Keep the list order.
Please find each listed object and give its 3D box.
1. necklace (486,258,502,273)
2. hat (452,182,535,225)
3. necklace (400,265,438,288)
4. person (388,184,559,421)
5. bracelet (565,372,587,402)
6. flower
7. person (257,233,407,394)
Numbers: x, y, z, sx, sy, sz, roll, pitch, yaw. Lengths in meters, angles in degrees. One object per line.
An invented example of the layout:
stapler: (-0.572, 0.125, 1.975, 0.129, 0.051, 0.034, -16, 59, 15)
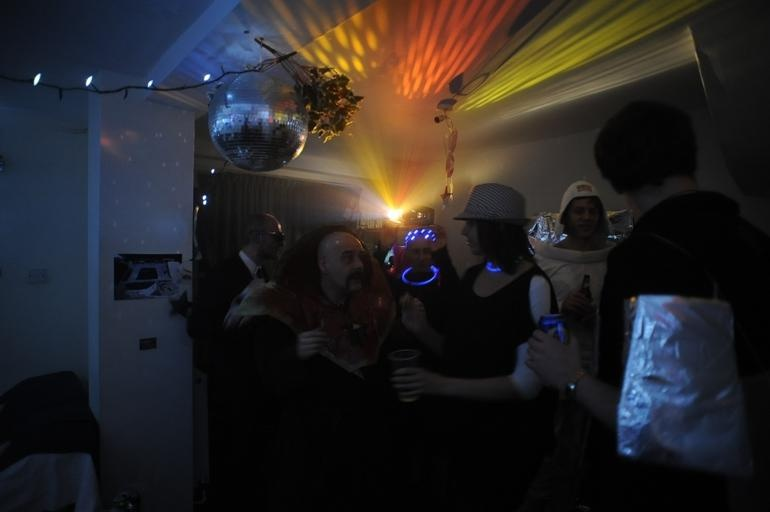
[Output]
necklace: (0.563, 0.053, 2.869, 0.052, 0.026, 0.068, 28, -1, 27)
hat: (0.564, -0.264, 2.831, 0.279, 0.147, 0.235, 12, 3, -1)
necklace: (0.185, 0.111, 3.032, 0.130, 0.027, 0.139, 3, 32, 17)
person: (0.467, 0.159, 2.922, 0.842, 1.078, 0.704, 4, 3, 35)
bracelet: (0.765, 0.515, 2.199, 0.060, 0.096, 0.088, 36, -15, 4)
flower: (-0.426, -0.946, 2.976, 0.441, 0.318, 0.569, -18, -37, -2)
person: (-0.276, 0.226, 2.853, 0.818, 0.786, 0.465, 0, -4, -30)
